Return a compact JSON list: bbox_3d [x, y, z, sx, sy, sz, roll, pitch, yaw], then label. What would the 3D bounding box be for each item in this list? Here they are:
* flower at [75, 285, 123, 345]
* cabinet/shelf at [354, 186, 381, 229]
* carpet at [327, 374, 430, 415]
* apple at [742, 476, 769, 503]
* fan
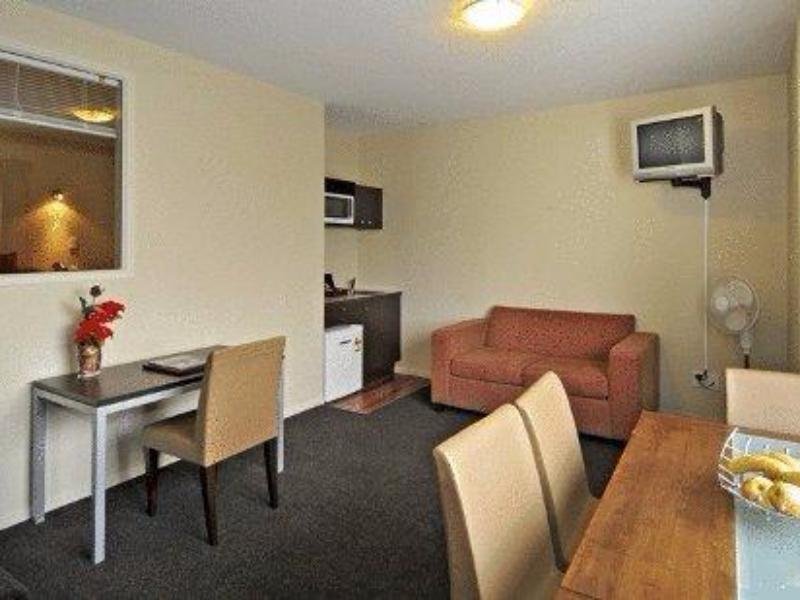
[{"bbox_3d":[-1.800,0.083,3.593,0.231,0.239,0.210,34,27,19],"label":"flower"},{"bbox_3d":[-0.337,-0.934,6.073,0.219,0.406,0.414,2,3,32],"label":"cabinet/shelf"},{"bbox_3d":[-0.143,0.863,5.612,0.483,0.142,1.236,8,17,30],"label":"carpet"},{"bbox_3d":[1.305,0.689,2.218,0.082,0.084,0.086,-23,-15,-3],"label":"apple"},{"bbox_3d":[2.516,0.162,4.597,0.338,0.699,0.279,8,16,31],"label":"fan"}]
